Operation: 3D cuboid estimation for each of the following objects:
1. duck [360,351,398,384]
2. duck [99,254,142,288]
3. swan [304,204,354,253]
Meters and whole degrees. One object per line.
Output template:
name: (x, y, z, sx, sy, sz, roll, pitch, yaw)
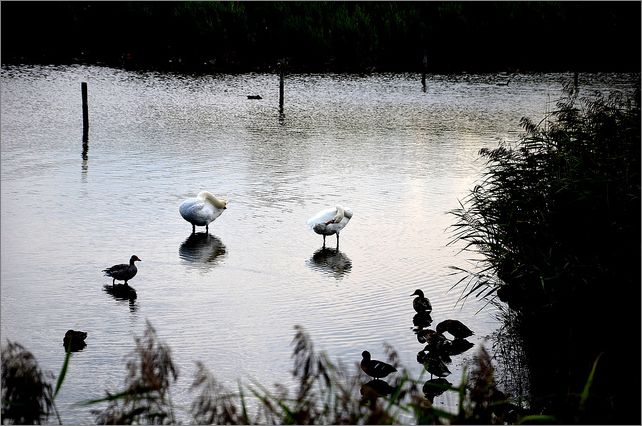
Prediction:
duck: (0.903, 2.427, 12.172, 0.524, 0.353, 0.570, 2, 8, 6)
duck: (-4.096, 1.118, 15.500, 0.931, 0.627, 0.508, 2, -22, 18)
swan: (0.197, 0.307, 18.390, 0.597, 1.001, 1.560, -16, -5, 36)
